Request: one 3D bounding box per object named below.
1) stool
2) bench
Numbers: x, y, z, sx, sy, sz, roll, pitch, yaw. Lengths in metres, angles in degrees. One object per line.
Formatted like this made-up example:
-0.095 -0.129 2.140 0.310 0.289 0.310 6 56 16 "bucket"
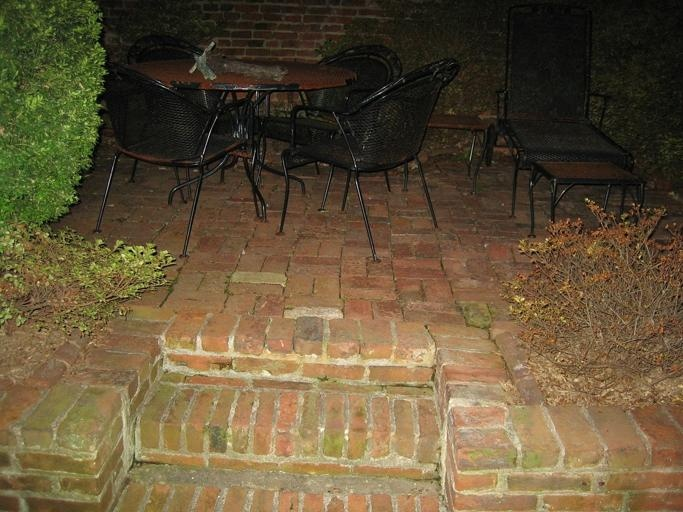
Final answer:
1.628 -0.417 3.754 0.694 0.323 0.537 5 29 7 "stool"
1.135 -1.085 5.306 0.732 0.390 0.938 -1 28 0 "bench"
